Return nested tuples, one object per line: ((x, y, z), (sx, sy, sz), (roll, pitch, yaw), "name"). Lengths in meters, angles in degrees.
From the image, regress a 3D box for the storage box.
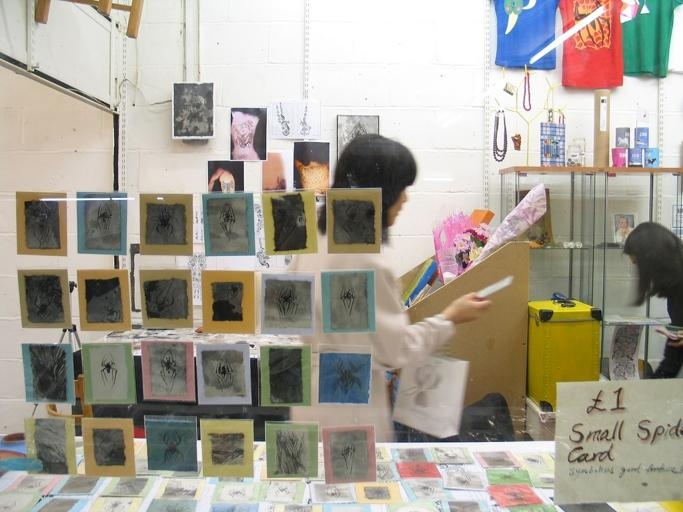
((0.541, 0.275, 1.752), (0.109, 0.316, 0.301), (1, 0, 10), "storage box")

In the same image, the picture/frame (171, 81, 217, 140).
((-0.341, -0.332, 1.608), (0.111, 0.166, 0.016), (0, -4, -11), "picture/frame")
